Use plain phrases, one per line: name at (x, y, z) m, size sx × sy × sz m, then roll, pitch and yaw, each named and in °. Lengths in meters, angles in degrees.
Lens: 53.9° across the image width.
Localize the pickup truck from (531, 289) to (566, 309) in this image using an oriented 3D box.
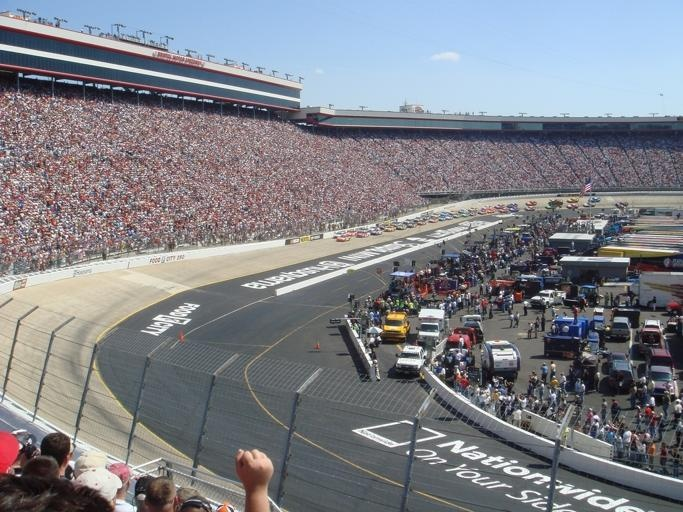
pickup truck at (13.640, 2.828, 44.506) m, size 2.677 × 0.697 × 1.101 m, roll -8°, pitch 15°, yaw -35°

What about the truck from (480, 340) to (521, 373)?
truck at (7.487, 4.593, 31.732) m, size 2.115 × 1.162 × 2.899 m, roll -3°, pitch 6°, yaw 4°

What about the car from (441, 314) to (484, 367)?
car at (6.577, 4.246, 35.205) m, size 1.491 × 1.356 × 3.556 m, roll -2°, pitch 1°, yaw 18°

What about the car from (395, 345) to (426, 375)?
car at (3.247, 4.959, 31.550) m, size 1.301 × 1.044 × 1.731 m, roll 2°, pitch 11°, yaw 8°

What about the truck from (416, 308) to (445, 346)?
truck at (4.907, 3.779, 36.504) m, size 1.385 × 0.998 × 2.266 m, roll 0°, pitch 3°, yaw 11°

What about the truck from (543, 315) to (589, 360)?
truck at (11.772, 4.065, 35.066) m, size 1.409 × 1.245 × 4.246 m, roll 7°, pitch 17°, yaw 25°
